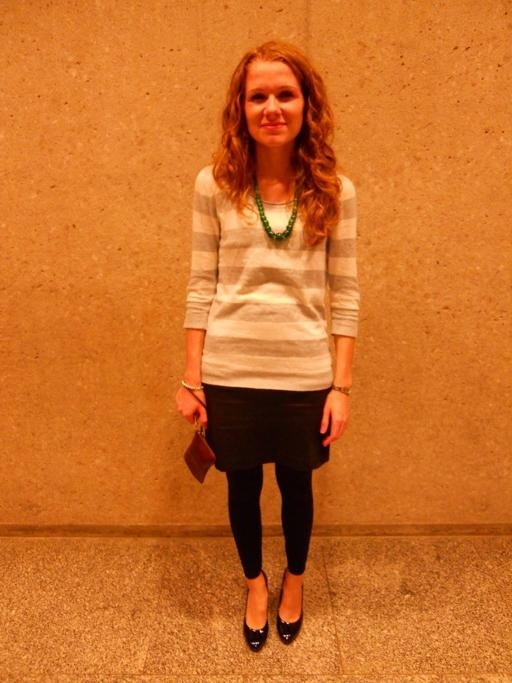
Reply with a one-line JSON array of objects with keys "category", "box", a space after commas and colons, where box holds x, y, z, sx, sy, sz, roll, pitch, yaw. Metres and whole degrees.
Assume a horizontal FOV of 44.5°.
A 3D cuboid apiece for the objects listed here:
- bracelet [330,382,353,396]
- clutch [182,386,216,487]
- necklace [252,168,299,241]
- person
[{"category": "bracelet", "box": [0.218, 0.122, 1.596, 0.035, 0.020, 0.029, 22, 19, 19]}, {"category": "clutch", "box": [-0.134, 0.265, 1.610, 0.017, 0.173, 0.128, 6, 27, -37]}, {"category": "necklace", "box": [0.048, -0.317, 1.529, 0.108, 0.123, 0.096, 0, 22, 1]}, {"category": "person", "box": [0.031, -0.194, 1.578, 0.451, 1.021, 0.325, 4, 22, 10]}]
